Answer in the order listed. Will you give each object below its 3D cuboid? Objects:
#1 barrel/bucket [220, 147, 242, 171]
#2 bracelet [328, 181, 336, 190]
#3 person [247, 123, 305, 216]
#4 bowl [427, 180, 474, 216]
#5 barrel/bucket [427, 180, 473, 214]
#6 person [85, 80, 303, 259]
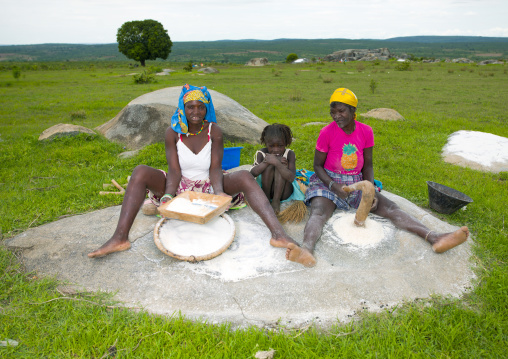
[{"bbox_3d":[-0.364,-0.344,5.568,0.378,0.284,0.337,-3,6,-10],"label":"barrel/bucket"},{"bbox_3d":[0.929,0.074,4.190,0.035,0.089,0.066,12,-18,-6],"label":"bracelet"},{"bbox_3d":[0.289,-0.132,4.304,0.607,1.060,1.024,-5,17,-12],"label":"person"},{"bbox_3d":[2.450,0.265,4.494,0.413,0.275,0.596,29,8,39],"label":"bowl"},{"bbox_3d":[2.451,0.262,4.478,0.590,0.269,0.412,21,9,-39],"label":"barrel/bucket"},{"bbox_3d":[-0.697,-0.162,3.894,1.886,1.551,1.126,-3,26,-6],"label":"person"}]
